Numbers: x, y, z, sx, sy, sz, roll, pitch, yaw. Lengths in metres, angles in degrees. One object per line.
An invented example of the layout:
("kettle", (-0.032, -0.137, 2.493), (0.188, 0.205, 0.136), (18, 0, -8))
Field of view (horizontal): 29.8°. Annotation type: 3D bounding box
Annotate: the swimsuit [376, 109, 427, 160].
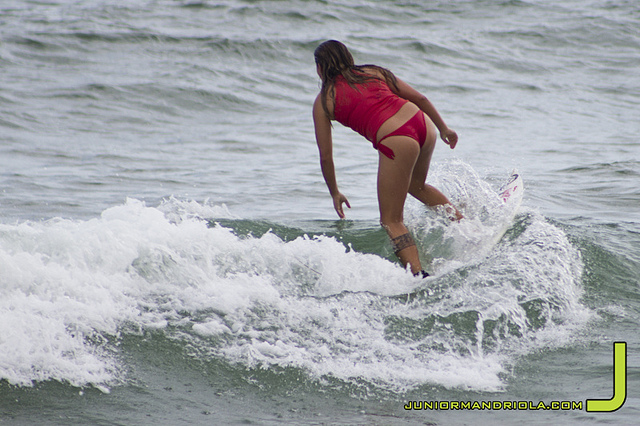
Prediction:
("swimsuit", (1.391, -1.217, 18.708), (0.836, 0.395, 0.913), (-38, -5, 35))
